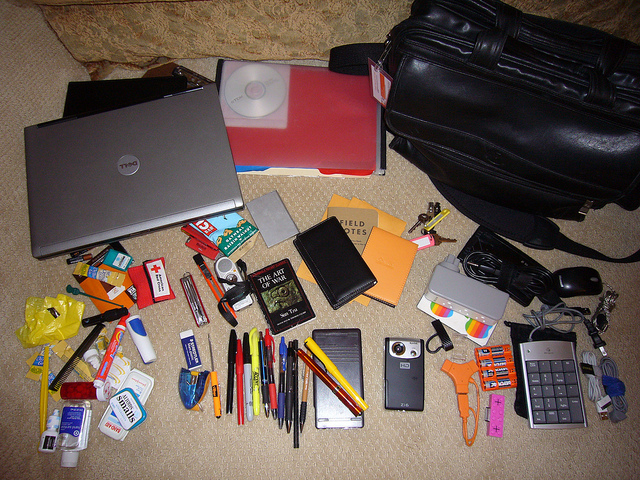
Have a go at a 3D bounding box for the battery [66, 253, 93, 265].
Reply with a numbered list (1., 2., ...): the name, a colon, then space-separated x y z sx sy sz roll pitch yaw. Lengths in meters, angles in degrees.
1. battery: -0.602 0.046 1.387 0.068 0.021 0.028 -12 91 -23

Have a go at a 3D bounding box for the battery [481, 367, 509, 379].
1. battery: 0.427 0.323 1.345 0.076 0.023 0.026 -2 79 3

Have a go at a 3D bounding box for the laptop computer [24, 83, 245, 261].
1. laptop computer: -0.465 -0.176 1.355 0.511 0.058 0.324 -13 79 -4

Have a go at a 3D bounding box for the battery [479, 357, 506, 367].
1. battery: 0.424 0.297 1.352 0.076 0.023 0.024 0 81 1

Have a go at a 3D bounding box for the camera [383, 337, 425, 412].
1. camera: 0.207 0.326 1.350 0.097 0.026 0.195 2 103 15

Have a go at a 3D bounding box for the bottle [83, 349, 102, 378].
1. bottle: -0.552 0.295 1.335 0.040 0.016 0.065 -5 90 -5

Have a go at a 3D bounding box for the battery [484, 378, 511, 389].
1. battery: 0.430 0.347 1.340 0.079 0.024 0.026 0 84 -1

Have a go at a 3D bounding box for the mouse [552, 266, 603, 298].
1. mouse: 0.643 0.103 1.392 0.132 0.039 0.071 -4 78 -3

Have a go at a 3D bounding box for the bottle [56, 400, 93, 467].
1. bottle: -0.574 0.450 1.288 0.064 0.041 0.149 3 78 -1

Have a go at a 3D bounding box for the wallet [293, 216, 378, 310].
1. wallet: 0.034 0.051 1.385 0.125 0.027 0.221 -33 81 -8

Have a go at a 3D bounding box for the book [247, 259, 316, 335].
1. book: -0.098 0.139 1.374 0.111 0.009 0.175 -27 80 -7

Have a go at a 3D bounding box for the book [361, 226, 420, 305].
1. book: 0.166 0.064 1.407 0.129 0.041 0.185 20 62 12
